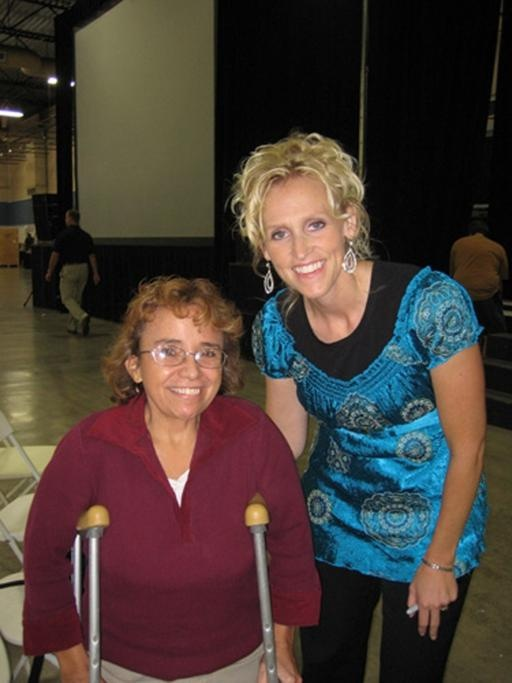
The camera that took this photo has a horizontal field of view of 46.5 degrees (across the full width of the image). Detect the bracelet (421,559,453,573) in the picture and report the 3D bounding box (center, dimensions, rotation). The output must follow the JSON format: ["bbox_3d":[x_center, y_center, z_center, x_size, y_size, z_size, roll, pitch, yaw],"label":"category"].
[{"bbox_3d":[0.353,0.437,1.155,0.035,0.010,0.030,19,-6,-2],"label":"bracelet"}]
